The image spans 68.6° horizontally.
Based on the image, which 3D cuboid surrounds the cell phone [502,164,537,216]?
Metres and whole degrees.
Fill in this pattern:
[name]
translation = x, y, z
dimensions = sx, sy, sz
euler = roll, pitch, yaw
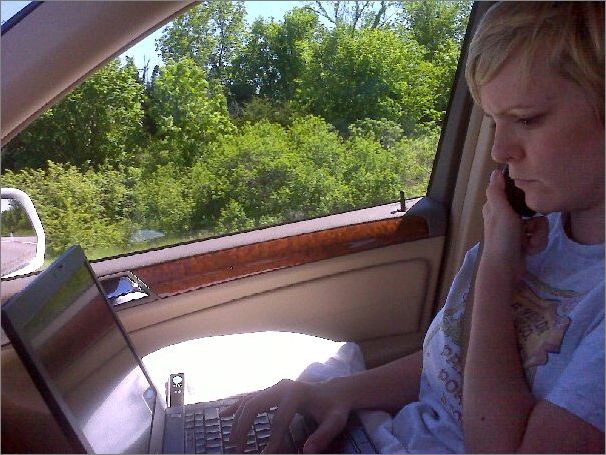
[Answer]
[cell phone]
translation = 0.682, -0.132, 1.443
dimensions = 0.039, 0.170, 0.167
euler = -11, 18, -22
